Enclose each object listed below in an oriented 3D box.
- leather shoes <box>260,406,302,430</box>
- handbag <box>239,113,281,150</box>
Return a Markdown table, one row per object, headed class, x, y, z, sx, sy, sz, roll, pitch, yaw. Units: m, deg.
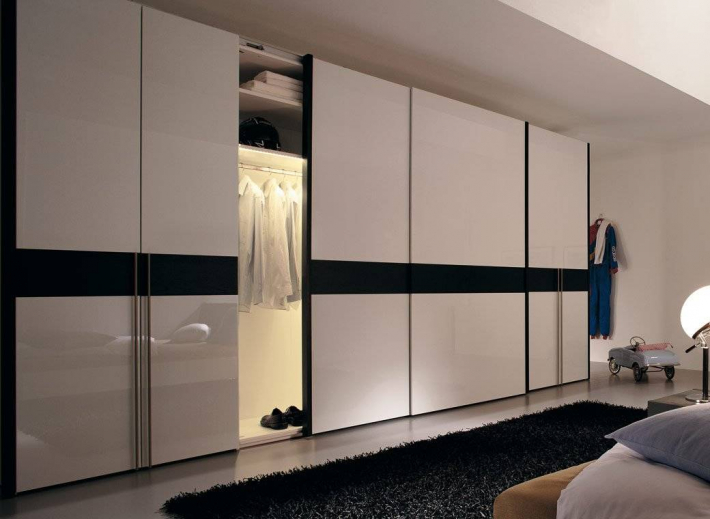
| class | x | y | z | sx | sy | sz | roll | pitch | yaw |
| --- | --- | --- | --- | --- | --- | --- | --- | --- | --- |
| leather shoes | -0.563 | 1.201 | 4.238 | 0.154 | 0.092 | 0.229 | 3 | -7 | -30 |
| handbag | -0.722 | -0.964 | 4.286 | 0.276 | 0.266 | 0.226 | -4 | -3 | 31 |
